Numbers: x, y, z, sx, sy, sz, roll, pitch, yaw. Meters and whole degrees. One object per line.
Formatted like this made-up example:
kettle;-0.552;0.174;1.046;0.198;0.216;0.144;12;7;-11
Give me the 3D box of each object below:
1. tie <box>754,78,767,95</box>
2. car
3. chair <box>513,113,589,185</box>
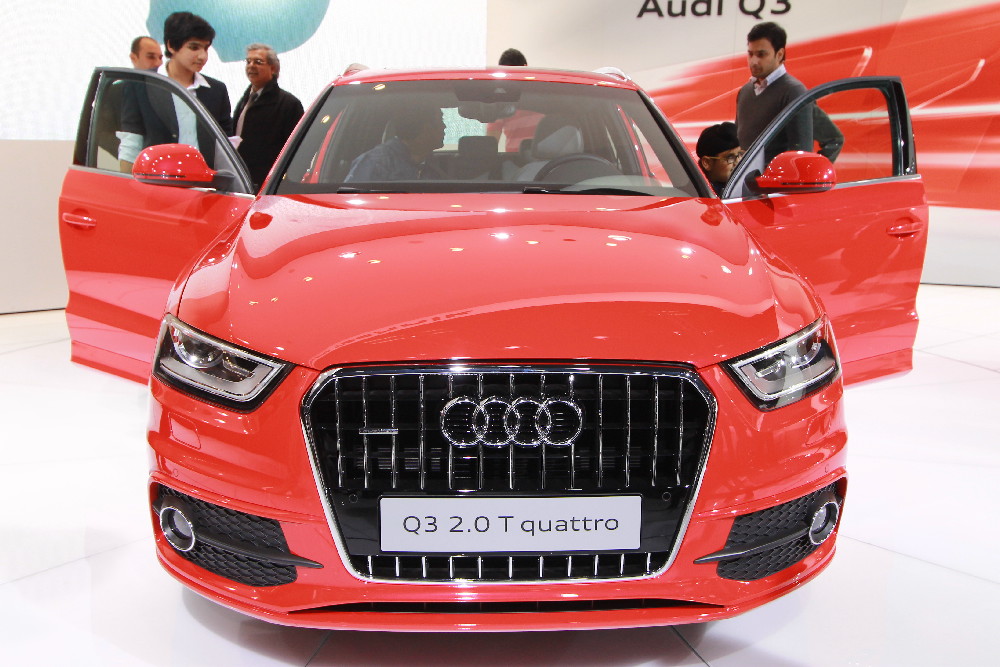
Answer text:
tie;1.771;-1.705;5.133;0.086;0.113;0.063;0;-16;14
car;-0.073;0.056;2.979;2.576;1.015;2.404;0;30;0
chair;0.194;-0.763;3.047;0.309;0.397;0.328;0;49;4
